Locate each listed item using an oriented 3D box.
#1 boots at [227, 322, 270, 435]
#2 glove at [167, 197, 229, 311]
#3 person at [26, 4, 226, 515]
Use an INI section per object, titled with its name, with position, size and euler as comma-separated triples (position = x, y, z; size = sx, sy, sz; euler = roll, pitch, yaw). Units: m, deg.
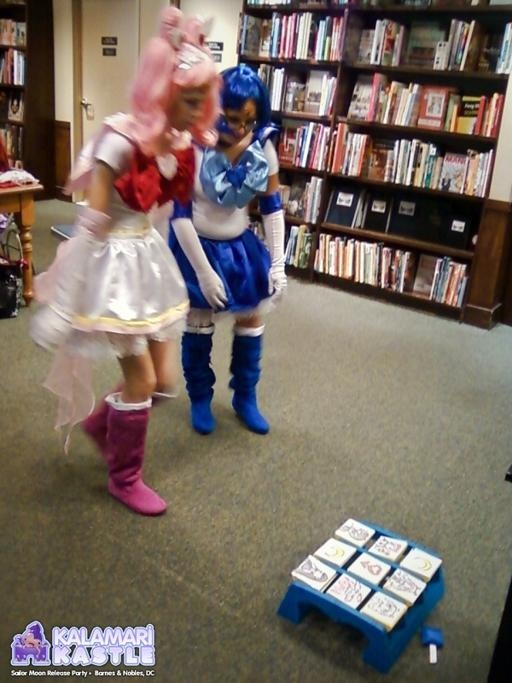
[boots]
position = -0.029, 0.159, 1.949
size = 0.126, 0.516, 0.245
euler = -22, 46, -23
[glove]
position = -0.167, -0.238, 1.485
size = 0.079, 0.418, 0.120
euler = -8, 31, 25
[person]
position = -0.323, -0.115, 1.200
size = 0.423, 1.223, 0.513
euler = 2, 13, -8
